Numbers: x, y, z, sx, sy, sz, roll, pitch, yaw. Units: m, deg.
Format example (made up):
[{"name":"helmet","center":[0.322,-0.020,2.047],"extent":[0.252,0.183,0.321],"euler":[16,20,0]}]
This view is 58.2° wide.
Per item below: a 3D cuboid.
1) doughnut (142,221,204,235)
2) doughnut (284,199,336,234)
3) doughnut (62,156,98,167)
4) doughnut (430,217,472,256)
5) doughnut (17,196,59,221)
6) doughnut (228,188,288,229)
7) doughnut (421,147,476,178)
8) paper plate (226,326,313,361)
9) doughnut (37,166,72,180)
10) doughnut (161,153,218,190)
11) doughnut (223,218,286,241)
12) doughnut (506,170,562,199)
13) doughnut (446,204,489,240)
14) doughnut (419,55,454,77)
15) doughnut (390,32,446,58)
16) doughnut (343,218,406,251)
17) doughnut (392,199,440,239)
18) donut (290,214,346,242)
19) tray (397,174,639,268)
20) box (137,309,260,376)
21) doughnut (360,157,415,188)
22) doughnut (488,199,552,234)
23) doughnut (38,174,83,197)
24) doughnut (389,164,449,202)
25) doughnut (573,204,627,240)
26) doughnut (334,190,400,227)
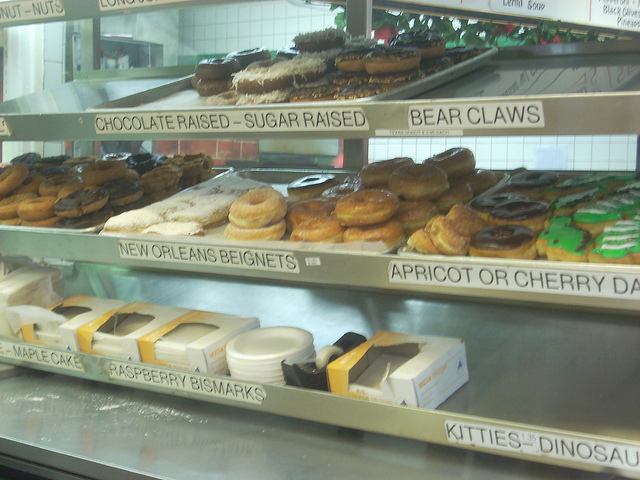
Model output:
[{"name":"doughnut","center":[-0.398,-0.029,1.537],"extent":[0.165,0.026,0.069],"euler":[4,19,22]},{"name":"doughnut","center":[-0.031,-0.073,1.505],"extent":[0.099,0.033,0.104],"euler":[4,20,22]},{"name":"doughnut","center":[-0.935,-0.311,2.243],"extent":[0.073,0.024,0.073],"euler":[0,8,18]},{"name":"doughnut","center":[0.291,-0.007,1.339],"extent":[0.095,0.030,0.088],"euler":[8,25,-41]},{"name":"doughnut","center":[-0.825,-0.096,1.684],"extent":[0.086,0.028,0.086],"euler":[-15,13,-35]},{"name":"doughnut","center":[-0.170,-0.093,1.563],"extent":[0.175,0.060,0.166],"euler":[-11,-6,11]},{"name":"doughnut","center":[0.378,-0.228,1.669],"extent":[0.111,0.039,0.120],"euler":[-2,14,40]},{"name":"paper plate","center":[-0.136,0.286,1.542],"extent":[0.246,0.049,0.243],"euler":[-4,10,-1]},{"name":"doughnut","center":[-0.963,-0.250,2.087],"extent":[0.089,0.028,0.087],"euler":[-11,10,-43]},{"name":"doughnut","center":[-0.442,-0.257,2.040],"extent":[0.159,0.070,0.155],"euler":[-12,17,-41]},{"name":"doughnut","center":[-0.170,-0.024,1.487],"extent":[0.165,0.040,0.097],"euler":[-4,18,-3]},{"name":"doughnut","center":[0.597,-0.170,1.642],"extent":[0.118,0.038,0.111],"euler":[-12,15,-41]},{"name":"doughnut","center":[0.366,-0.047,1.411],"extent":[0.088,0.029,0.088],"euler":[19,10,-39]},{"name":"doughnut","center":[0.285,-0.435,1.416],"extent":[0.079,0.023,0.077],"euler":[-7,23,-11]},{"name":"doughnut","center":[0.251,-0.493,1.458],"extent":[0.133,0.044,0.136],"euler":[0,8,1]},{"name":"doughnut","center":[0.133,-0.011,1.394],"extent":[0.153,0.052,0.101],"euler":[-2,18,3]},{"name":"doughnut","center":[0.242,-0.060,1.481],"extent":[0.098,0.032,0.099],"euler":[-11,24,-9]},{"name":"donut","center":[-0.009,-0.027,1.440],"extent":[0.084,0.028,0.088],"euler":[1,21,37]},{"name":"tray","center":[0.460,-0.060,1.437],"extent":[0.484,0.079,0.594],"euler":[1,18,14]},{"name":"box","center":[-0.342,0.241,1.608],"extent":[0.197,0.064,0.195],"euler":[3,17,22]},{"name":"doughnut","center":[0.183,-0.179,1.661],"extent":[0.112,0.036,0.105],"euler":[-17,11,-31]},{"name":"doughnut","center":[0.504,-0.065,1.444],"extent":[0.147,0.048,0.144],"euler":[-32,29,-33]},{"name":"doughnut","center":[-0.862,-0.186,1.881],"extent":[0.103,0.035,0.108],"euler":[11,31,42]},{"name":"doughnut","center":[0.260,-0.151,1.514],"extent":[0.123,0.039,0.113],"euler":[-6,19,-17]},{"name":"doughnut","center":[0.649,-0.051,1.348],"extent":[0.068,0.037,0.110],"euler":[15,24,42]},{"name":"doughnut","center":[0.097,-0.090,1.476],"extent":[0.188,0.061,0.180],"euler":[-8,17,-22]}]
